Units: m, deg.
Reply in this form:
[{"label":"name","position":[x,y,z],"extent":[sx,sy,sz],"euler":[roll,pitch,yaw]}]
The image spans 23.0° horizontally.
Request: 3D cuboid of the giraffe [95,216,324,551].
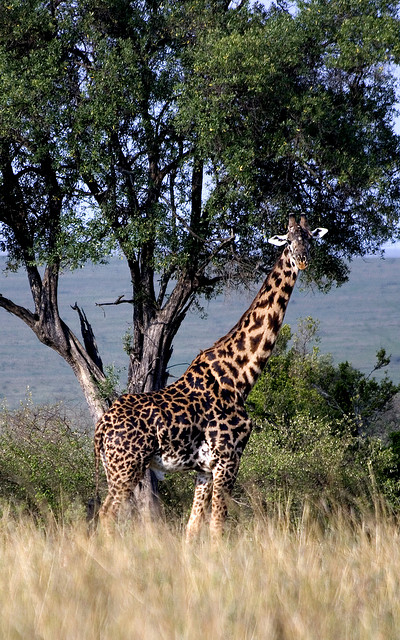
[{"label":"giraffe","position":[0.045,0.544,10.264],"extent":[2.073,3.168,3.472],"euler":[-1,4,4]}]
